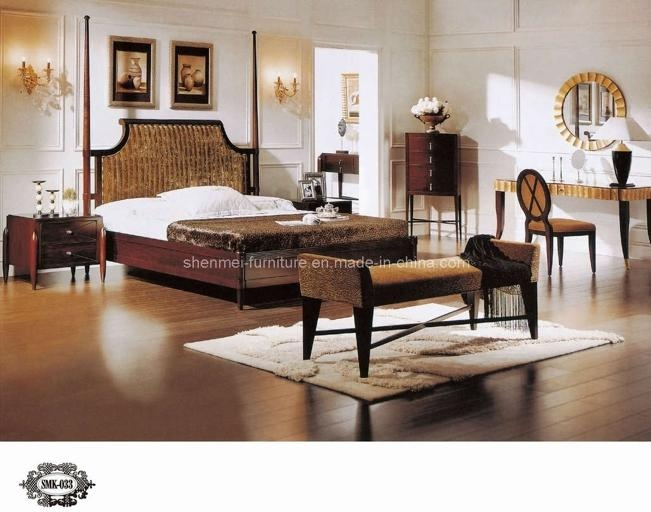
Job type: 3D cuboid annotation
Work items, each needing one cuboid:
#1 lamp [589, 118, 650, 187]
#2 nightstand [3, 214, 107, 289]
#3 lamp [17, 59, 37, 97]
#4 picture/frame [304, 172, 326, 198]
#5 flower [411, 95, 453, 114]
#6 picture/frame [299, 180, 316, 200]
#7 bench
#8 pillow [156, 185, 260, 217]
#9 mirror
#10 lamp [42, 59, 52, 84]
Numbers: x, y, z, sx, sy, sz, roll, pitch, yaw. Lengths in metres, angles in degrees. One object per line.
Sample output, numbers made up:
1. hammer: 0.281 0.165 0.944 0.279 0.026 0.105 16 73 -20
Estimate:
1. lamp: 3.419 -1.240 6.493 0.617 0.819 0.672 7 11 42
2. nightstand: -2.704 -0.134 5.498 0.882 0.738 0.737 -3 5 -45
3. lamp: -2.980 -1.788 5.524 0.177 0.319 0.094 -5 9 -29
4. picture/frame: -0.146 -0.902 7.075 0.326 0.395 0.052 -4 1 -45
5. flower: 1.514 -2.097 7.769 0.381 0.161 0.373 -5 10 -32
6. picture/frame: -0.234 -0.846 7.033 0.210 0.249 0.031 11 -12 -27
7. bench: 0.619 0.256 3.417 1.565 0.682 0.553 -6 10 -31
8. pillow: -1.200 -0.573 5.750 1.016 0.297 0.598 -3 9 -18
9. mirror: 3.342 -1.800 6.855 0.090 1.308 1.103 -3 7 -42
10. lamp: -2.844 -1.882 5.639 0.094 0.226 0.050 -7 11 -40
